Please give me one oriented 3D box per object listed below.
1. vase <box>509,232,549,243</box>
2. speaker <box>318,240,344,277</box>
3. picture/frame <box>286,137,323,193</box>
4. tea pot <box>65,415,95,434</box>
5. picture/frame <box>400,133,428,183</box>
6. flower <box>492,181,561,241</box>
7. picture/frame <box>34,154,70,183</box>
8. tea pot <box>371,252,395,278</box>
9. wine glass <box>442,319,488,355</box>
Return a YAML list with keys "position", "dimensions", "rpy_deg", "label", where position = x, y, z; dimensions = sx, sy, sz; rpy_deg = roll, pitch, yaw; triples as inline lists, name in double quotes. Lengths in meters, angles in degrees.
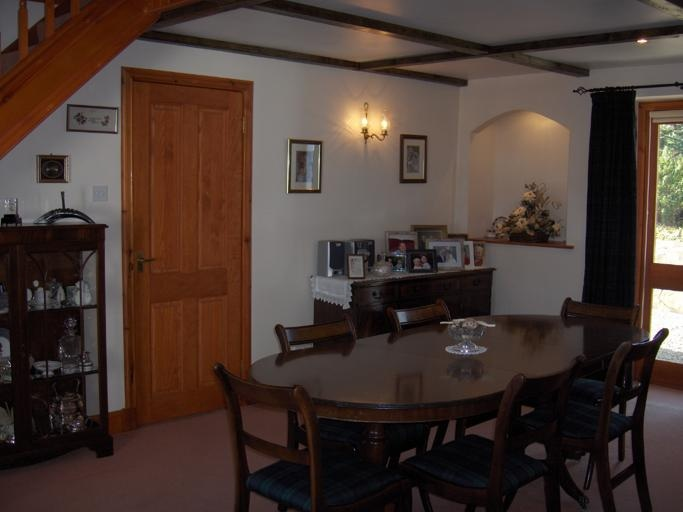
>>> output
- position: [2.081, -0.219, 5.814]
  dimensions: [0.395, 0.142, 0.169]
  rpy_deg: [4, 10, 9]
  label: "vase"
- position: [-0.102, 0.017, 5.036]
  dimensions: [0.231, 0.439, 0.294]
  rpy_deg: [4, 6, 45]
  label: "speaker"
- position: [-0.351, -0.857, 5.039]
  dimensions: [0.399, 0.505, 0.023]
  rpy_deg: [-3, 9, -34]
  label: "picture/frame"
- position: [-1.946, 1.241, 3.896]
  dimensions: [0.130, 0.056, 0.113]
  rpy_deg: [3, 6, 12]
  label: "tea pot"
- position: [0.779, -1.095, 5.784]
  dimensions: [0.509, 0.709, 0.067]
  rpy_deg: [-3, 5, -39]
  label: "picture/frame"
- position: [2.200, -0.527, 6.130]
  dimensions: [0.689, 0.702, 0.359]
  rpy_deg: [1, -3, -4]
  label: "flower"
- position: [-2.191, -0.659, 3.930]
  dimensions: [0.179, 0.189, 0.023]
  rpy_deg: [17, -6, -41]
  label: "picture/frame"
- position: [0.410, 0.085, 5.192]
  dimensions: [0.142, 0.099, 0.266]
  rpy_deg: [5, 20, 20]
  label: "tea pot"
- position: [0.758, 0.500, 3.249]
  dimensions: [0.304, 0.179, 0.340]
  rpy_deg: [0, 0, -34]
  label: "wine glass"
